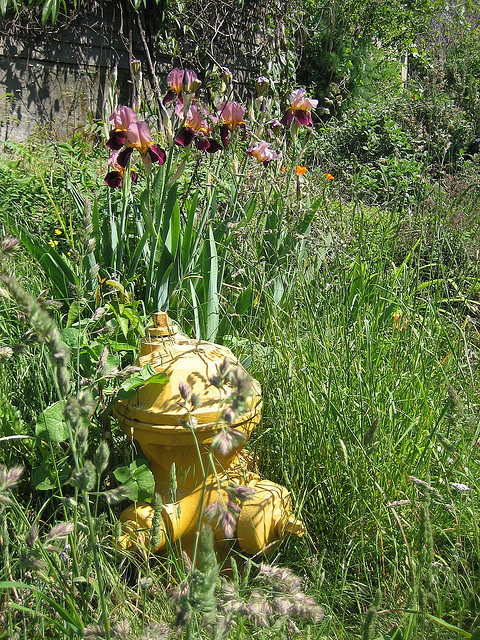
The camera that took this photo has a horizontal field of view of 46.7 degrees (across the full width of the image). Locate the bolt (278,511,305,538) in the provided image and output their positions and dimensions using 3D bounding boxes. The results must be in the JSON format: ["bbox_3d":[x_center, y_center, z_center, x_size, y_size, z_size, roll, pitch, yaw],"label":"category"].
[{"bbox_3d":[0.108,0.420,1.157,0.040,0.059,0.058,-1,1,5],"label":"bolt"}]

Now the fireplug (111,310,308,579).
[{"bbox_3d":[-0.093,0.395,1.277,0.420,0.766,0.427,2,10,2],"label":"fireplug"}]

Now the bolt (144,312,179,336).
[{"bbox_3d":[-0.179,0.006,1.247,0.051,0.041,0.055,1,3,-2],"label":"bolt"}]
